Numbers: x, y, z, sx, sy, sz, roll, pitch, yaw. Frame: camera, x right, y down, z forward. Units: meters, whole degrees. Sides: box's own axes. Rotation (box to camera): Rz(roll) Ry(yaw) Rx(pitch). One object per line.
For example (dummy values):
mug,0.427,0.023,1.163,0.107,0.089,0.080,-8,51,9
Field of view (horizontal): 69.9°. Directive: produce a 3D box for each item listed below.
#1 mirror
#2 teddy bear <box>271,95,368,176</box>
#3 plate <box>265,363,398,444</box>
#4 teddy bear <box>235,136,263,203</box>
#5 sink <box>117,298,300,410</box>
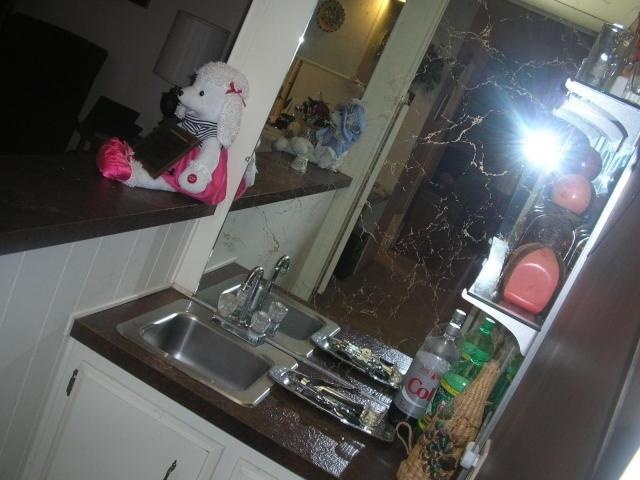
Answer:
mirror,0.214,-0.381,1.996,0.939,2.014,1.037,27,17,31
teddy bear,-0.001,-0.404,1.633,0.249,0.355,0.215,26,14,-8
plate,0.060,0.538,1.504,0.338,0.063,0.206,29,11,6
teddy bear,-0.249,-0.246,1.589,0.065,0.193,0.134,10,5,-26
sink,-0.400,0.245,1.527,0.469,0.199,0.313,26,22,24
